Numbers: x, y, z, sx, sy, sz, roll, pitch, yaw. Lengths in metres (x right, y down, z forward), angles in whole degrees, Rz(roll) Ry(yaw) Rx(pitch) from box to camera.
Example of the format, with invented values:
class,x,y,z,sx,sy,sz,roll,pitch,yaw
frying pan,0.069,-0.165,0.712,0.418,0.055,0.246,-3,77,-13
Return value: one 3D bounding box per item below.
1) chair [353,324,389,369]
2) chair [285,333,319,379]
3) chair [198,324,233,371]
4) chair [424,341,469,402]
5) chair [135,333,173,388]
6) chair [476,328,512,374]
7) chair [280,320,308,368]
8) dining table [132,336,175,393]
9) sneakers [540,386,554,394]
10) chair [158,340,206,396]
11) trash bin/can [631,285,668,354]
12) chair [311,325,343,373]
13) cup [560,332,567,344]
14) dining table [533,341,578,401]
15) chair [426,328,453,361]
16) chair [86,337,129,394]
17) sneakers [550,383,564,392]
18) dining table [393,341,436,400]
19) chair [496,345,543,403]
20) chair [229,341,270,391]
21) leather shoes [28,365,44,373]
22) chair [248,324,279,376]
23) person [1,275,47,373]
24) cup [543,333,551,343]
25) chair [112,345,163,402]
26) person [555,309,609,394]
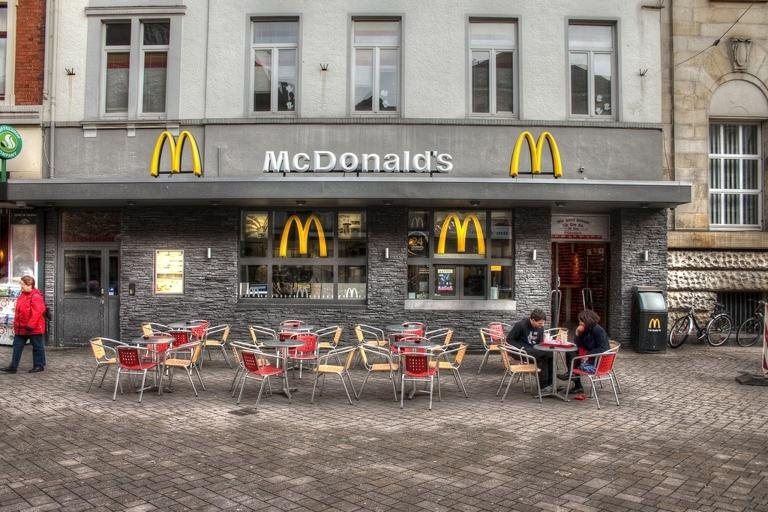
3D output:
class,x,y,z,sx,sy,sz,roll,pitch,yaw
chair,-0.346,2.350,23.213,0.739,1.086,0.895,-2,-3,19
chair,-1.920,2.496,21.091,0.972,1.436,0.964,0,-2,8
chair,-4.406,2.293,22.213,0.825,1.020,0.844,5,2,0
chair,1.630,2.839,20.977,1.085,1.603,1.304,2,-3,-3
chair,-5.453,2.572,20.460,1.184,1.399,1.215,0,-2,-3
chair,2.815,2.500,22.309,0.946,1.359,1.115,-2,-3,22
chair,-2.260,2.180,21.606,0.735,0.779,0.656,0,1,-5
dining table,-5.416,2.615,20.459,1.246,1.470,1.275,0,-1,-7
sneakers,3.866,3.206,20.062,0.104,0.138,0.348,0,4,31
chair,-4.850,2.650,20.532,0.941,1.269,0.955,4,3,7
trash bin/can,7.519,1.833,23.960,0.824,1.805,0.552,0,-2,1
chair,-1.547,2.357,23.059,0.827,1.165,0.827,3,1,-5
cup,4.294,1.976,20.351,0.205,0.210,0.144,-1,-4,19
dining table,4.071,2.735,20.245,1.178,1.397,1.216,0,-6,4
chair,1.436,2.286,22.280,0.603,0.859,0.697,2,-2,1
chair,-6.537,2.604,20.338,1.030,1.229,1.064,-1,1,-27
sneakers,4.104,3.190,20.148,0.237,0.107,0.330,-1,-2,32
dining table,0.745,2.790,19.896,1.280,1.617,1.169,0,6,6
chair,3.252,2.817,20.559,1.134,1.611,1.246,-1,-1,2
chair,-3.297,2.791,21.127,1.131,1.646,1.324,0,1,-11
leather shoes,-8.789,2.896,21.457,0.143,0.143,0.340,-1,-10,12
chair,-3.269,2.502,23.245,1.052,1.506,1.117,-4,-3,5
person,-9.019,1.730,21.469,0.901,2.493,0.788,1,-2,-24
cup,3.908,1.982,20.199,0.174,0.287,0.174,2,1,0
chair,-5.922,2.758,20.366,1.099,1.318,2.130,1,-2,-18
person,4.838,2.401,20.448,1.241,2.088,0.895,9,-8,18
